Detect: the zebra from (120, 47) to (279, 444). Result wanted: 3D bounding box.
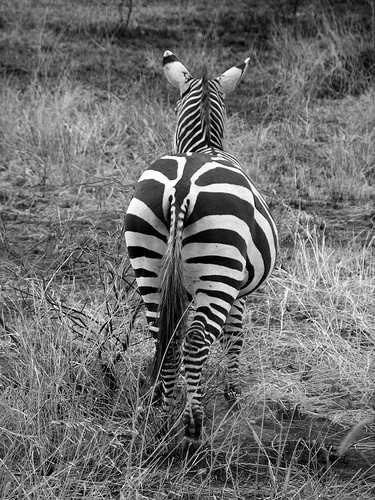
[{"bbox_3d":[0.039,-0.140,2.998,0.526,1.397,1.651,4,10,3],"label":"zebra"}]
